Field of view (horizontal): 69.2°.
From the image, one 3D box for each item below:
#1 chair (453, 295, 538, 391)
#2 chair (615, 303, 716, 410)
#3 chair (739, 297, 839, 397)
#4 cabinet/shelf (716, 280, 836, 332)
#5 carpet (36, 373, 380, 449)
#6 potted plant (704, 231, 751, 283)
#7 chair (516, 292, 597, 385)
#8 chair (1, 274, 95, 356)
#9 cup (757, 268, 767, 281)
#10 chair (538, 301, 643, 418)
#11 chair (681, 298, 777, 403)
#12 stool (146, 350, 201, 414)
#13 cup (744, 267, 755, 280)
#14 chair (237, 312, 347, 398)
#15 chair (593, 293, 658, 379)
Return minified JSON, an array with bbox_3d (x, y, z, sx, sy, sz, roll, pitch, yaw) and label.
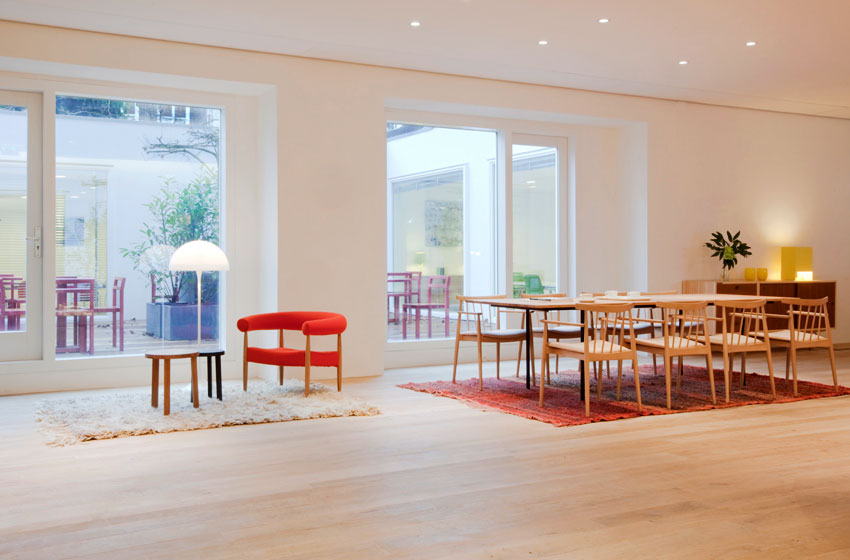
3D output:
[{"bbox_3d":[0.779,0.662,7.107,0.821,0.922,0.678,1,0,-40],"label":"chair"},{"bbox_3d":[2.460,0.683,6.364,0.828,0.975,0.870,0,1,44],"label":"chair"},{"bbox_3d":[4.303,0.796,7.333,1.078,1.335,0.930,-1,3,-15],"label":"chair"},{"bbox_3d":[5.060,0.387,9.136,1.655,0.741,0.509,-6,-23,-12],"label":"cabinet/shelf"},{"bbox_3d":[-2.199,1.197,5.987,2.984,0.080,1.690,-1,5,-18],"label":"carpet"},{"bbox_3d":[4.537,-0.384,9.404,0.771,0.797,0.840,-1,4,-13],"label":"potted plant"},{"bbox_3d":[1.476,0.501,6.744,0.949,0.923,1.180,-2,3,-13],"label":"chair"},{"bbox_3d":[-4.211,0.314,7.187,1.171,1.015,0.817,0,3,-27],"label":"chair"},{"bbox_3d":[5.103,-0.092,9.271,0.193,0.202,0.183,0,1,0],"label":"cup"},{"bbox_3d":[1.570,0.692,5.994,0.887,0.937,0.776,6,-5,-17],"label":"chair"},{"bbox_3d":[3.279,0.701,6.625,0.814,0.930,0.809,-3,-2,10],"label":"chair"},{"bbox_3d":[-2.427,0.960,5.975,0.533,0.498,0.501,-2,-4,2],"label":"stool"},{"bbox_3d":[4.884,-0.100,9.333,0.178,0.168,0.169,-1,2,0],"label":"cup"},{"bbox_3d":[-1.461,0.758,6.561,1.137,0.672,0.733,2,-14,7],"label":"chair"},{"bbox_3d":[2.397,0.607,7.275,0.799,0.899,0.755,-1,-15,38],"label":"chair"}]
